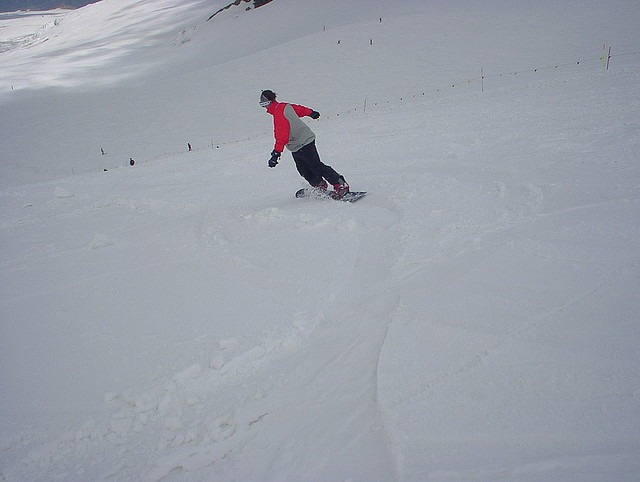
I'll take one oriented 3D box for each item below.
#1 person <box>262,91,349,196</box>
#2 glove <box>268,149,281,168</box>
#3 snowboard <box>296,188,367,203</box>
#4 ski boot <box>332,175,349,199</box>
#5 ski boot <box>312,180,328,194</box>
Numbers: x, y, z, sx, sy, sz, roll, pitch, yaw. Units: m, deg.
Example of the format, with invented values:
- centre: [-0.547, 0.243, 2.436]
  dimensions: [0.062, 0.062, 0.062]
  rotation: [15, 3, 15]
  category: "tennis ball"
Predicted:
- centre: [-0.276, -1.459, 8.583]
  dimensions: [1.028, 1.609, 0.794]
  rotation: [-9, 23, 14]
  category: "person"
- centre: [-0.681, -1.205, 8.550]
  dimensions: [0.136, 0.262, 0.080]
  rotation: [19, -8, 0]
  category: "glove"
- centre: [0.113, -0.662, 8.623]
  dimensions: [1.194, 0.154, 0.349]
  rotation: [5, 59, 41]
  category: "snowboard"
- centre: [0.289, -0.795, 8.478]
  dimensions: [0.154, 0.189, 0.427]
  rotation: [-15, 27, 24]
  category: "ski boot"
- centre: [-0.005, -0.830, 8.900]
  dimensions: [0.194, 0.077, 0.150]
  rotation: [-26, 7, 43]
  category: "ski boot"
